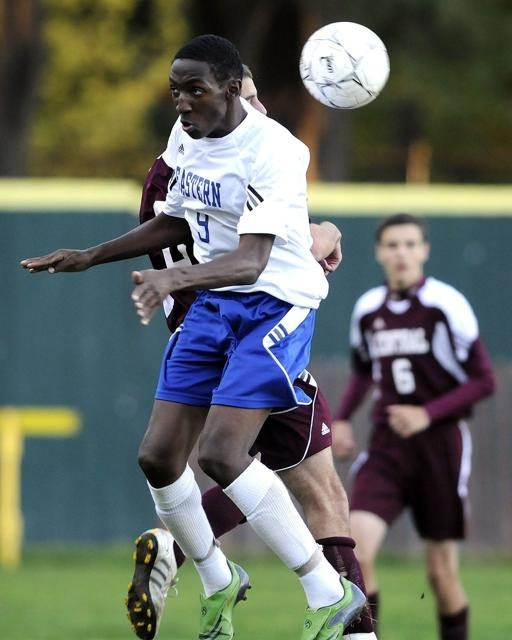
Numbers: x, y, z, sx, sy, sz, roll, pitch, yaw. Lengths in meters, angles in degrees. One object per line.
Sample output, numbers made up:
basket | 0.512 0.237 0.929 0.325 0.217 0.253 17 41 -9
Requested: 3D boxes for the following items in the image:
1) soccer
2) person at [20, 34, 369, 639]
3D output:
soccer | 0.314 -0.937 3.823 0.295 0.281 0.290 -24 7 33
person | -0.155 0.081 3.292 0.897 1.906 0.928 -6 14 -24
